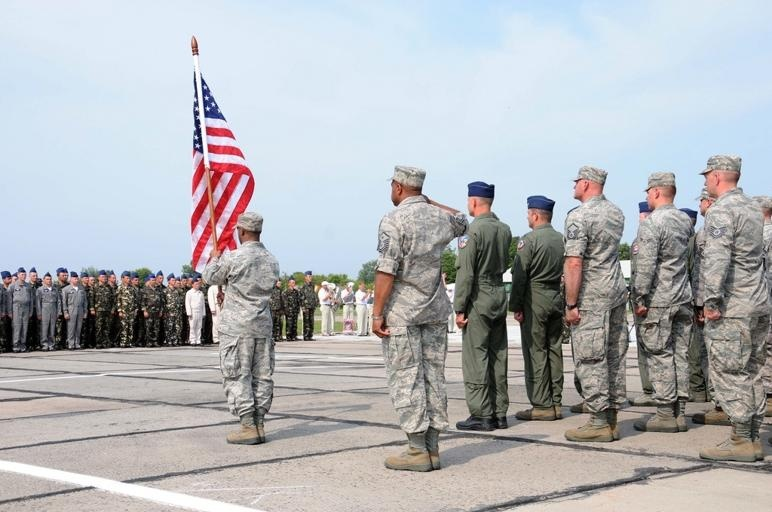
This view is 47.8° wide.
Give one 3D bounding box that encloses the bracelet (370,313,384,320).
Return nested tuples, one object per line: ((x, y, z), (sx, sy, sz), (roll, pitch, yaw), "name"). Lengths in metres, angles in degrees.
((-0.062, 0.582, 8.336), (0.094, 0.058, 0.070), (-1, -9, 11), "bracelet")

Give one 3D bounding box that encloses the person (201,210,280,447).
((-1.604, 0.770, 9.578), (0.824, 2.529, 0.440), (3, -11, -16), "person")

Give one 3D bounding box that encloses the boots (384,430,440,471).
((0.326, 1.876, 8.361), (0.703, 0.455, 0.264), (4, -10, 6), "boots")

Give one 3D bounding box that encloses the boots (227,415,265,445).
((-1.475, 1.880, 9.327), (0.526, 0.304, 0.215), (0, -8, 40), "boots")

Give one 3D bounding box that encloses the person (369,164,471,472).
((0.313, 0.587, 8.434), (0.916, 2.933, 0.500), (3, -11, -15), "person")
